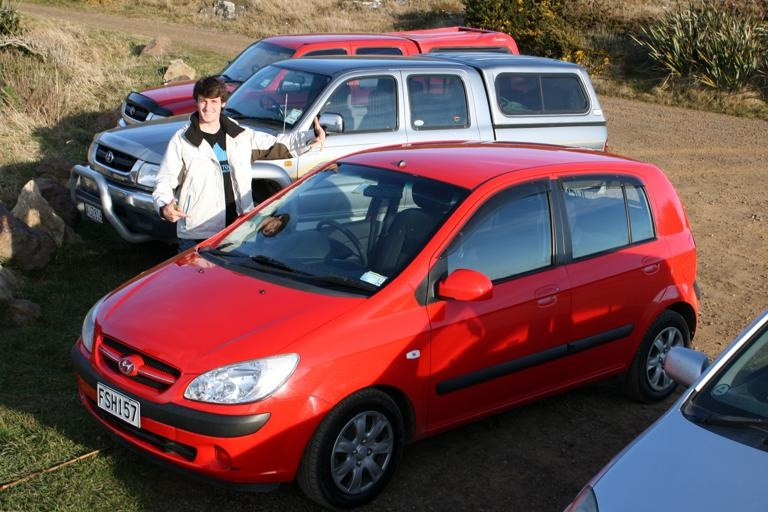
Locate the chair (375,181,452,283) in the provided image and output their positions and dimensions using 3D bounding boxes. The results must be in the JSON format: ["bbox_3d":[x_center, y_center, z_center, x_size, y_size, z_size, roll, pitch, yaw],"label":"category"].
[{"bbox_3d":[0.224,-0.217,4.918,0.473,0.478,0.810,15,32,18],"label":"chair"}]

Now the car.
[{"bbox_3d":[0.172,0.473,5.174,4.869,2.131,2.247,-13,34,-26],"label":"car"}]
